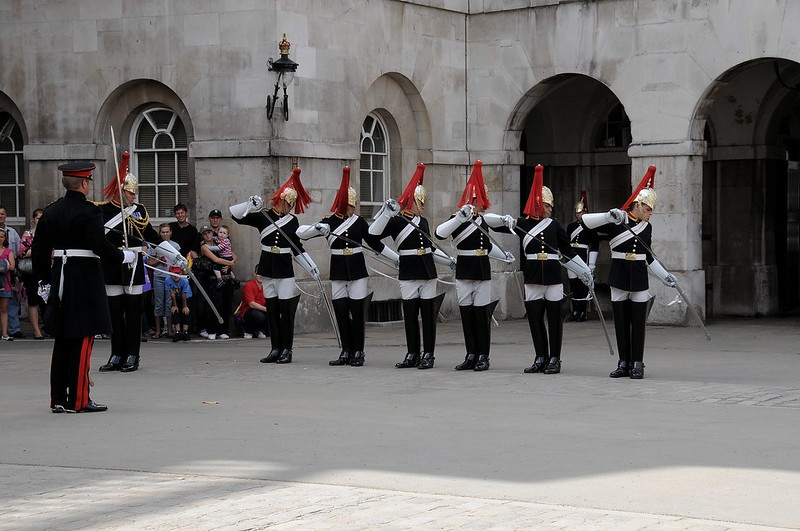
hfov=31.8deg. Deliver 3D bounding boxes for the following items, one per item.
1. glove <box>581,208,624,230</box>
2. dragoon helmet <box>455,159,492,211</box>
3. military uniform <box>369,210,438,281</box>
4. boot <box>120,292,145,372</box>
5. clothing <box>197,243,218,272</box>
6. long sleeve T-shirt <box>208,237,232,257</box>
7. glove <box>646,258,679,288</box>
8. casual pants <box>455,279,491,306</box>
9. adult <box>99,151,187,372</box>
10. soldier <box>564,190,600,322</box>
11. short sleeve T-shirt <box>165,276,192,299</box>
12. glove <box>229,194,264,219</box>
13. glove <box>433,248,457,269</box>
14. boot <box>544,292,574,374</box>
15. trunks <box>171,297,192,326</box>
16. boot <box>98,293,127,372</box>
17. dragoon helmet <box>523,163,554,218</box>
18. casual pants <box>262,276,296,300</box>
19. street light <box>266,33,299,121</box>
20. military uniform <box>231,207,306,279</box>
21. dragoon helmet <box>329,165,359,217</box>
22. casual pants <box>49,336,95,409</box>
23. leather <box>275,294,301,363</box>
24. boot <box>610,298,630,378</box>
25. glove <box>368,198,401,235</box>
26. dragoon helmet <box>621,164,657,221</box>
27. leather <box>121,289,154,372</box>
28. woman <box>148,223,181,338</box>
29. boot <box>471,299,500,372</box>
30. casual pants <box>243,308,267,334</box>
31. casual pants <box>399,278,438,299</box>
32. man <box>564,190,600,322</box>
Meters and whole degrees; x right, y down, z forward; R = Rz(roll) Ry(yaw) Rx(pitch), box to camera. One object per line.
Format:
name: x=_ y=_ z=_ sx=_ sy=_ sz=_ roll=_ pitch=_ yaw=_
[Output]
glove: x=2.298 y=-0.522 z=15.817 sx=0.517 sy=0.210 sz=0.302 roll=0 pitch=2 yaw=29
dragoon helmet: x=0.940 y=-0.934 z=16.559 sx=0.381 sy=0.557 sz=0.328 roll=3 pitch=-6 yaw=11
military uniform: x=0.145 y=-0.225 z=16.647 sx=1.165 sy=0.866 sz=0.397 roll=0 pitch=-5 yaw=-45
boot: x=-3.138 y=0.767 z=16.287 sx=0.280 sy=0.944 sz=0.254 roll=-7 pitch=-10 yaw=36
clothing: x=-2.613 y=-0.094 z=19.128 sx=0.357 sy=0.447 sz=0.270 roll=-2 pitch=-10 yaw=10
long sleeve T-shirt: x=-2.457 y=-0.259 z=19.311 sx=0.284 sy=0.266 sz=0.220 roll=16 pitch=-18 yaw=-5
glove: x=3.059 y=0.105 z=16.240 sx=0.408 sy=0.149 sz=0.290 roll=42 pitch=-3 yaw=-4
casual pants: x=0.874 y=0.324 z=16.515 sx=0.499 sy=0.432 sz=0.281 roll=0 pitch=-4 yaw=-1
adult: x=-3.049 y=0.070 z=16.097 sx=1.390 sy=2.372 sz=0.891 roll=0 pitch=9 yaw=-8
soldier: x=2.751 y=-0.159 z=21.668 sx=0.649 sy=1.984 sz=0.586 roll=3 pitch=5 yaw=34
short sleeve T-shirt: x=-2.986 y=0.285 z=18.943 sx=0.354 sy=0.366 sz=0.150 roll=-2 pitch=11 yaw=24
glove: x=-1.897 y=-0.729 z=17.506 sx=0.411 sy=0.237 sz=0.193 roll=-16 pitch=-32 yaw=14
glove: x=0.530 y=-0.076 z=16.762 sx=0.277 sy=0.104 sz=0.205 roll=25 pitch=0 yaw=-8
boot: x=1.813 y=0.813 z=16.240 sx=0.263 sy=0.852 sz=0.532 roll=-1 pitch=2 yaw=6
trunks: x=-2.974 y=0.634 z=19.123 sx=0.235 sy=0.380 sz=0.120 roll=-7 pitch=0 yaw=20
boot: x=-3.303 y=0.739 z=16.198 sx=0.285 sy=1.002 sz=0.189 roll=-3 pitch=17 yaw=-33
dragoon helmet: x=1.624 y=-0.871 z=16.376 sx=0.348 sy=0.562 sz=0.306 roll=-6 pitch=14 yaw=-21
casual pants: x=-1.465 y=0.289 z=17.013 sx=0.444 sy=0.295 sz=0.253 roll=-1 pitch=-6 yaw=21
street light: x=-1.643 y=-2.620 z=19.458 sx=0.429 sy=1.208 sz=0.465 roll=-1 pitch=2 yaw=-5
military uniform: x=-1.660 y=-0.288 z=17.711 sx=0.985 sy=0.752 sz=0.338 roll=3 pitch=-12 yaw=-17
dragoon helmet: x=-0.665 y=-0.902 z=16.932 sx=0.316 sy=0.530 sz=0.266 roll=0 pitch=10 yaw=-18
casual pants: x=-3.264 y=1.071 z=13.943 sx=0.419 sy=0.734 sz=0.235 roll=-2 pitch=2 yaw=-13
leather: x=-1.322 y=0.749 z=17.025 sx=0.352 sy=0.818 sz=0.391 roll=1 pitch=8 yaw=-2
boot: x=2.496 y=0.833 z=15.821 sx=0.232 sy=0.854 sz=0.246 roll=-1 pitch=2 yaw=8
glove: x=-0.155 y=-0.551 z=16.442 sx=0.281 sy=0.402 sz=0.569 roll=-2 pitch=2 yaw=-16
dragoon helmet: x=2.808 y=-0.862 z=16.131 sx=0.388 sy=0.579 sz=0.276 roll=12 pitch=-1 yaw=32
leather: x=-3.109 y=0.726 z=16.242 sx=0.235 sy=0.994 sz=0.623 roll=9 pitch=23 yaw=3
woman: x=-3.193 y=0.183 z=19.120 sx=0.561 sy=1.466 sz=0.540 roll=1 pitch=-4 yaw=3
boot: x=0.969 y=0.806 z=16.451 sx=0.249 sy=0.806 sz=0.529 roll=2 pitch=-1 yaw=31
casual pants: x=-1.992 y=0.790 z=19.350 sx=0.325 sy=0.398 sz=0.187 roll=4 pitch=36 yaw=6
casual pants: x=0.248 y=0.314 z=16.642 sx=0.420 sy=0.364 sz=0.234 roll=0 pitch=-5 yaw=-1
man: x=2.766 y=-0.156 z=21.702 sx=0.707 sy=2.001 sz=0.584 roll=2 pitch=4 yaw=29
